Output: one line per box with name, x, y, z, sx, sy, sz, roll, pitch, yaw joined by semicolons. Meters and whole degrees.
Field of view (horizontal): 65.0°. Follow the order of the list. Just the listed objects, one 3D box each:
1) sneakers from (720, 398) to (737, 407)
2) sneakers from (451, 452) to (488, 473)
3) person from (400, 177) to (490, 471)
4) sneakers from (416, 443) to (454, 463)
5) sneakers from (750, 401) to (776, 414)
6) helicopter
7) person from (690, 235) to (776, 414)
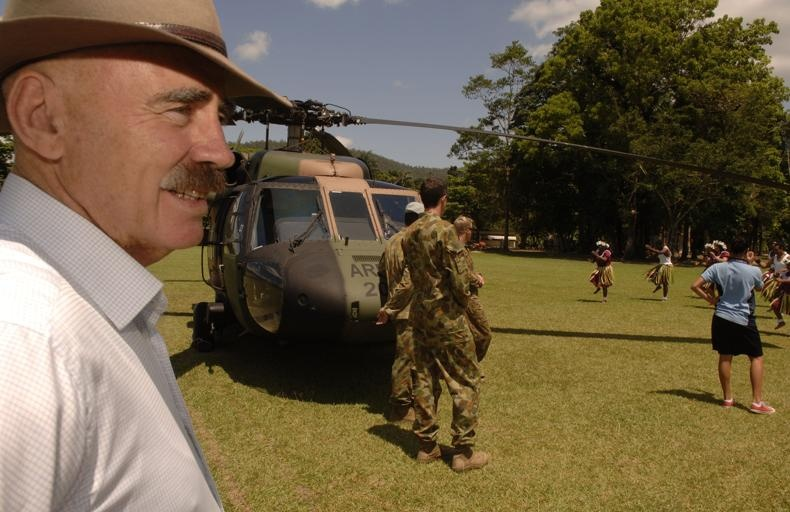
sneakers;3.863;1.695;7.213;0.227;0.083;0.078;-3;4;-34
sneakers;0.650;1.794;5.506;0.386;0.166;0.132;-5;13;-22
person;0.399;0.587;5.506;0.522;2.476;0.872;0;8;-23
sneakers;0.364;1.756;5.575;0.404;0.152;0.132;-7;10;-40
sneakers;4.109;1.698;7.007;0.306;0.121;0.118;-1;6;-6
helicopter;-0.975;-0.307;7.689;5.013;1.541;4.742;0;4;-33
person;3.971;0.775;7.282;0.975;1.911;0.748;5;8;23
